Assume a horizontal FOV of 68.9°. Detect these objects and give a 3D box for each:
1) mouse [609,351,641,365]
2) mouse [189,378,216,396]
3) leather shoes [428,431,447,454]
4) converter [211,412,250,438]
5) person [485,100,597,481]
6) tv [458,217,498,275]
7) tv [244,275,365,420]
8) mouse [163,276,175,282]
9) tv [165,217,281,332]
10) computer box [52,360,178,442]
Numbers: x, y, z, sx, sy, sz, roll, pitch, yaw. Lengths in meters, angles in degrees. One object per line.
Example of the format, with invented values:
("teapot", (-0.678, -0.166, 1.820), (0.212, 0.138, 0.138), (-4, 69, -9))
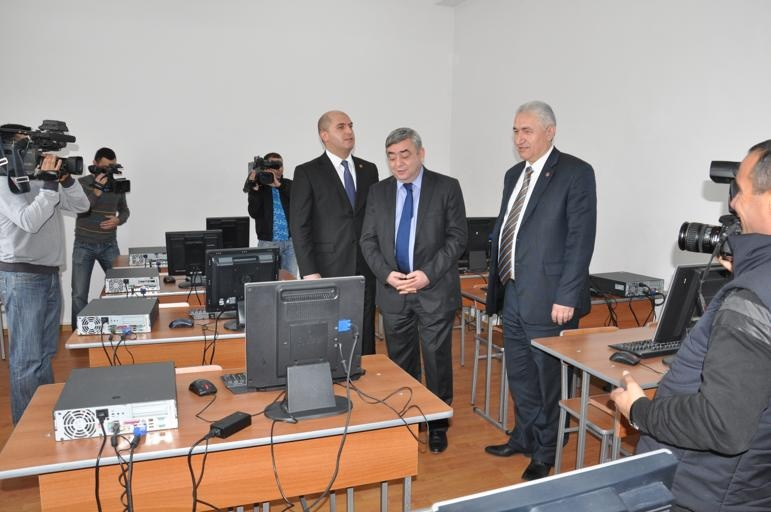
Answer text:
("mouse", (1.312, 0.554, 3.060), (0.069, 0.039, 0.115), (-3, 3, -39))
("mouse", (-0.902, 0.661, 2.790), (0.144, 0.060, 0.092), (3, 7, 44))
("leather shoes", (0.360, 1.284, 3.856), (0.094, 0.035, 0.129), (-1, 45, 6))
("converter", (-0.695, 0.745, 2.505), (0.072, 0.041, 0.161), (11, 15, 36))
("person", (0.956, 0.213, 3.536), (0.347, 2.309, 0.670), (-6, 7, -40))
("tv", (1.020, -0.101, 5.527), (0.565, 0.492, 0.550), (2, -2, 26))
("tv", (-0.391, 0.445, 2.667), (0.588, 0.595, 0.195), (-3, 20, -14))
("mouse", (-1.845, 0.211, 4.798), (0.066, 0.028, 0.093), (0, 14, -26))
("tv", (-1.174, 0.136, 3.967), (0.761, 0.548, 0.440), (-2, 20, -19))
("computer box", (-1.221, 0.664, 2.600), (0.512, 0.241, 0.381), (-3, 5, -15))
